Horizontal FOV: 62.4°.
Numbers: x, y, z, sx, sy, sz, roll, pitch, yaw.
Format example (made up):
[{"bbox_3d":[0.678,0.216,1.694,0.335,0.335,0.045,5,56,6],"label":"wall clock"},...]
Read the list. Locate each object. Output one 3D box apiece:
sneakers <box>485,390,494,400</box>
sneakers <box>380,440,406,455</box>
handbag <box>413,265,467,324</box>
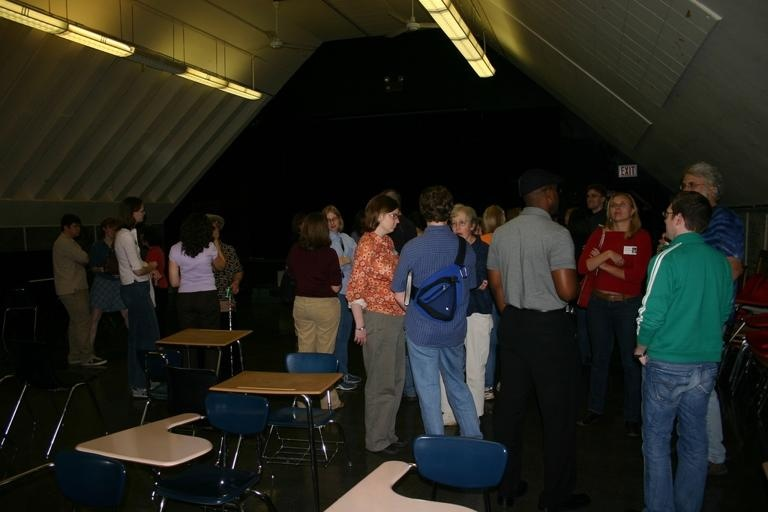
[{"bbox_3d":[1.278,1.700,7.755,0.151,0.066,0.229,1,2,6],"label":"sneakers"},{"bbox_3d":[0.107,2.068,6.827,0.266,0.124,0.103,-16,6,20],"label":"sneakers"},{"bbox_3d":[0.570,0.350,6.315,0.398,0.558,0.219,40,7,-5],"label":"handbag"}]
